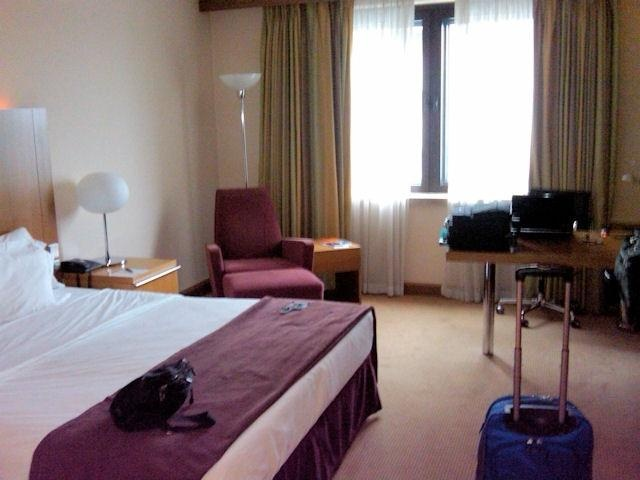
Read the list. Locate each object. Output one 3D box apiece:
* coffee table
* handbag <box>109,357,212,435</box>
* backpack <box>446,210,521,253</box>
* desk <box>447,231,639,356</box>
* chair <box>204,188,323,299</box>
[{"bbox_3d":[0.265,0.323,5.001,0.501,0.537,0.395,-5,5,35],"label":"coffee table"},{"bbox_3d":[-0.643,0.656,2.103,0.315,0.140,0.245,-19,26,-15],"label":"handbag"},{"bbox_3d":[0.973,-0.050,3.286,0.384,0.247,0.274,-4,3,10],"label":"backpack"},{"bbox_3d":[1.477,0.221,3.535,0.937,0.662,1.003,1,7,13],"label":"desk"},{"bbox_3d":[-0.474,-0.004,4.499,0.764,1.005,1.074,-3,5,-24],"label":"chair"}]
